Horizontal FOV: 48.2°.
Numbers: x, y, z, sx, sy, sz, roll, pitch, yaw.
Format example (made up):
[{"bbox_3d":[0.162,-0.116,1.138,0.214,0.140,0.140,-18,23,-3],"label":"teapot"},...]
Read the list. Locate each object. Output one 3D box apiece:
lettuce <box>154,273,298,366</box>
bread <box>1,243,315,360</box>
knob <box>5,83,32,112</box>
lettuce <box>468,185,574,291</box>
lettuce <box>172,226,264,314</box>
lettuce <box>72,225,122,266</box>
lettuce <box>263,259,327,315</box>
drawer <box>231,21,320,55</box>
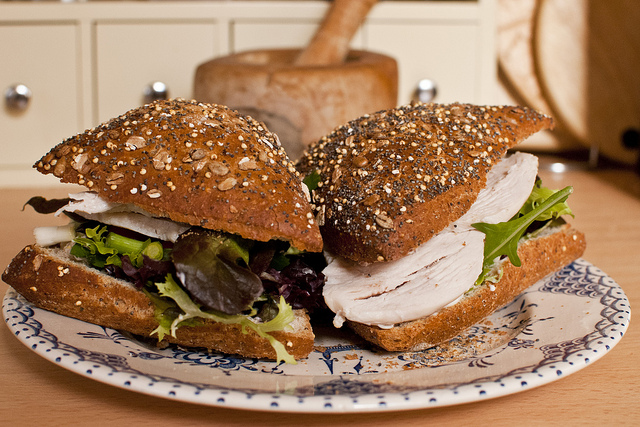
[{"bbox_3d":[-0.192,0.215,1.500,0.268,0.183,0.070,14,-33,-23],"label":"lettuce"},{"bbox_3d":[-0.374,0.173,1.540,0.553,0.123,0.278,13,2,11],"label":"bread"},{"bbox_3d":[-1.182,-0.447,2.804,0.121,0.112,0.065,-3,5,-31],"label":"knob"},{"bbox_3d":[0.437,0.045,1.688,0.354,0.136,0.038,-31,1,-21],"label":"lettuce"},{"bbox_3d":[-0.220,0.119,1.487,0.194,0.043,0.171,12,46,-28],"label":"lettuce"},{"bbox_3d":[-0.492,0.071,1.577,0.092,0.038,0.091,5,29,-18],"label":"lettuce"},{"bbox_3d":[-0.044,0.167,1.602,0.124,0.055,0.115,21,49,-19],"label":"lettuce"},{"bbox_3d":[-0.183,-0.724,2.911,0.361,0.120,0.034,-2,20,-6],"label":"drawer"}]
